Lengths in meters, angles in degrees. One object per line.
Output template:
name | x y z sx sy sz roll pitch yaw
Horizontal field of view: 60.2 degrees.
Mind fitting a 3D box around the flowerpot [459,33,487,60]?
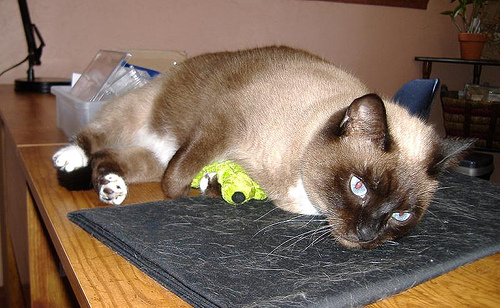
flowerpot | 1.997 -0.943 3.917 0.235 0.211 0.234 0 6 -21

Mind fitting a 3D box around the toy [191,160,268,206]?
toy | -0.098 0.101 1.576 0.285 0.131 0.185 9 17 31
